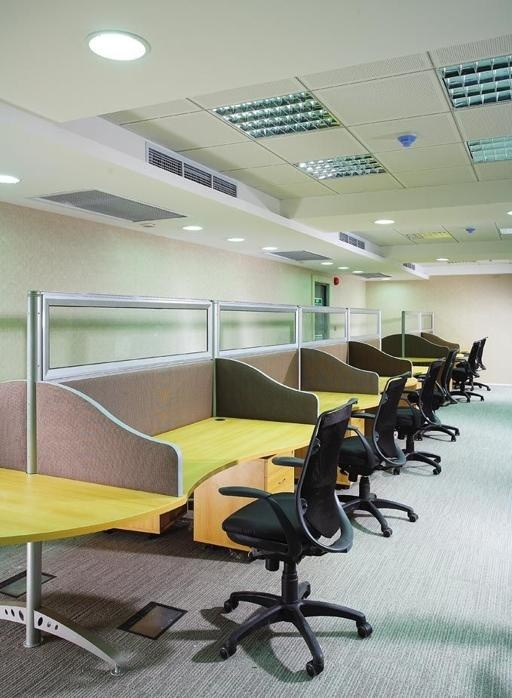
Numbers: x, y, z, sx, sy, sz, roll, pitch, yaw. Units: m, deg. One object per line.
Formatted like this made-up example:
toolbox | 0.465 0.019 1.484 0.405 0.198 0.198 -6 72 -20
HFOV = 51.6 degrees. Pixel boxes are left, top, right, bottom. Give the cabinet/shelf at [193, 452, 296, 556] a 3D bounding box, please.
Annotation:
cabinet/shelf | -0.079 0.847 2.637 0.317 0.428 0.470 -1 -39 11

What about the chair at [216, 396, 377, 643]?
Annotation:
chair | 0.113 0.613 1.869 0.530 0.745 0.562 1 -2 32

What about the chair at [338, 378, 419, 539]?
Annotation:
chair | 0.609 0.563 2.978 0.601 0.791 0.579 0 -2 22
